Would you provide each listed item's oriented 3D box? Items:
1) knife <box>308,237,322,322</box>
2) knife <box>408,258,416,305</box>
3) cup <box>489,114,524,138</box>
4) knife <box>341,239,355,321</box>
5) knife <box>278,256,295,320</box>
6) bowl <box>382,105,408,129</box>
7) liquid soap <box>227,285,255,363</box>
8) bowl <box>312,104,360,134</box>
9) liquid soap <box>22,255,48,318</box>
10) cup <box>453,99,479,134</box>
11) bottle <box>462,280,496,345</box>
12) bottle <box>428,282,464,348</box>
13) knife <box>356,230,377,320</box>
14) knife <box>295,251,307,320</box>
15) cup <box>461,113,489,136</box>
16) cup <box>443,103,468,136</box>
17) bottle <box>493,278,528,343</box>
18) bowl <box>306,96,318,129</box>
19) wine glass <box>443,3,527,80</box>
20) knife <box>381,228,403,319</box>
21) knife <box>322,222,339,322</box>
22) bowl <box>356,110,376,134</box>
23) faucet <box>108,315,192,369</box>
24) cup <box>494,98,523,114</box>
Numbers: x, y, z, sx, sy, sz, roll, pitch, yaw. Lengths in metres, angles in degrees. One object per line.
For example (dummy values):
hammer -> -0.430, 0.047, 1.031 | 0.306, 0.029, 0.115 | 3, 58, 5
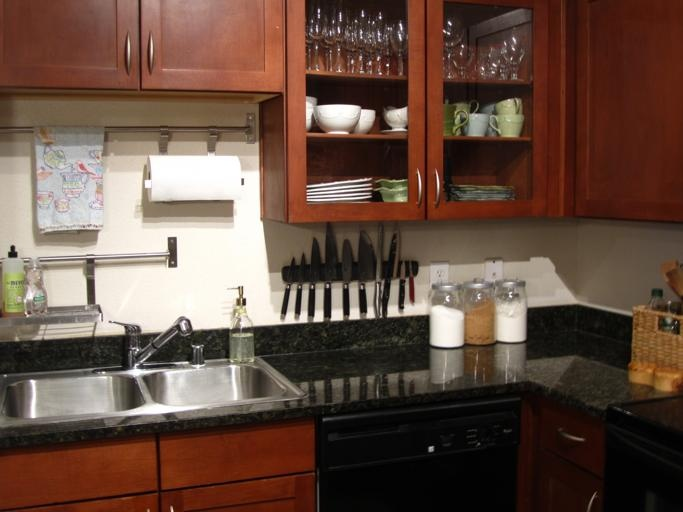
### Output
knife -> -0.117, 0.096, 2.570 | 0.043, 0.348, 0.026 | 1, 2, 6
knife -> 0.305, 0.117, 2.714 | 0.020, 0.191, 0.038 | 1, 12, 6
cup -> 0.661, -0.519, 2.499 | 0.119, 0.087, 0.087 | -4, 8, -8
knife -> 0.015, 0.096, 2.615 | 0.039, 0.332, 0.024 | 1, 2, 9
knife -> -0.225, 0.117, 2.561 | 0.042, 0.291, 0.014 | 7, -4, 20
bowl -> 0.201, -0.528, 2.352 | 0.079, 0.074, 0.078 | -1, 12, 0
liquid soap -> -0.395, 0.264, 2.425 | 0.092, 0.291, 0.112 | -2, 12, -9
bowl -> -0.026, -0.509, 2.306 | 0.114, 0.072, 0.122 | -1, 13, 0
liquid soap -> -1.109, 0.111, 2.241 | 0.079, 0.187, 0.180 | -6, 14, -26
cup -> 0.472, -0.554, 2.489 | 0.079, 0.140, 0.128 | -6, 14, -28
bottle -> 0.592, 0.242, 2.701 | 0.141, 0.267, 0.128 | 2, 12, 12
bottle -> 0.448, 0.253, 2.651 | 0.148, 0.284, 0.089 | 2, 12, 10
knife -> 0.106, 0.082, 2.598 | 0.072, 0.355, 0.027 | -1, 11, -9
knife -> -0.176, 0.122, 2.567 | 0.035, 0.283, 0.012 | 2, 1, -4
cup -> 0.525, -0.527, 2.466 | 0.091, 0.081, 0.086 | 0, 12, 0
cup -> 0.440, -0.532, 2.410 | 0.125, 0.136, 0.081 | 4, 9, 28
bottle -> 0.740, 0.255, 2.727 | 0.131, 0.240, 0.097 | 2, 12, 12
bowl -> -0.112, -0.522, 2.268 | 0.019, 0.118, 0.059 | 6, 14, 30
wine glass -> 0.545, -0.849, 2.433 | 0.270, 0.256, 0.101 | -1, 6, -13
knife -> 0.202, 0.072, 2.636 | 0.073, 0.373, 0.017 | 6, 3, 12
knife -> -0.053, 0.067, 2.564 | 0.050, 0.402, 0.029 | 1, 5, 1
bowl -> 0.091, -0.509, 2.355 | 0.075, 0.079, 0.083 | -7, 16, -43
faucet -> -0.726, 0.321, 2.357 | 0.313, 0.211, 0.222 | -4, 13, -14
cup -> 0.673, -0.600, 2.494 | 0.081, 0.069, 0.071 | 2, 9, 14
